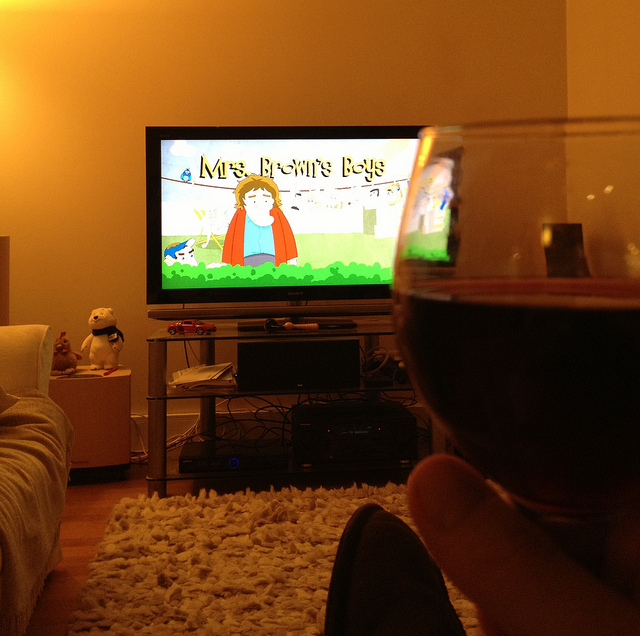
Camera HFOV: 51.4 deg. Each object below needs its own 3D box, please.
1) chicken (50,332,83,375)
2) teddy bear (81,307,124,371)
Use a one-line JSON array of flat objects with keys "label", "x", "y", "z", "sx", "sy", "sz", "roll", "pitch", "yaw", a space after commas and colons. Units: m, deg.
[{"label": "chicken", "x": -0.923, "y": 0.128, "z": 2.382, "sx": 0.137, "sy": 0.164, "sz": 0.097, "roll": -6, "pitch": -3, "yaw": -30}, {"label": "teddy bear", "x": -0.816, "y": 0.075, "z": 2.515, "sx": 0.126, "sy": 0.226, "sz": 0.168, "roll": -3, "pitch": 3, "yaw": -35}]
